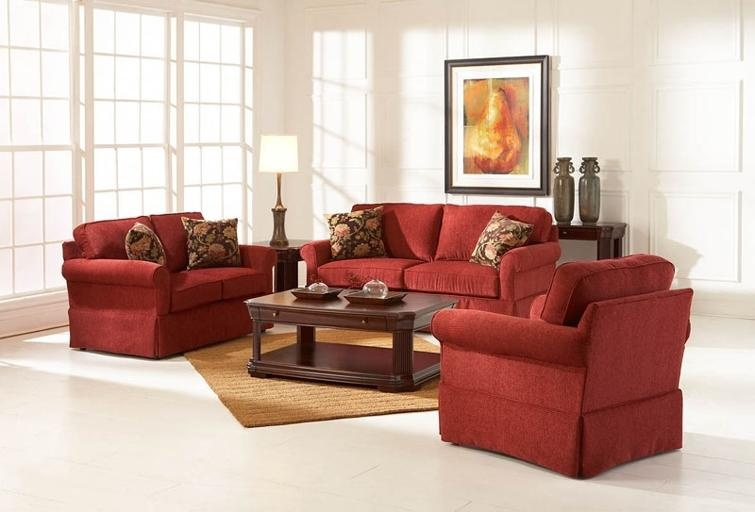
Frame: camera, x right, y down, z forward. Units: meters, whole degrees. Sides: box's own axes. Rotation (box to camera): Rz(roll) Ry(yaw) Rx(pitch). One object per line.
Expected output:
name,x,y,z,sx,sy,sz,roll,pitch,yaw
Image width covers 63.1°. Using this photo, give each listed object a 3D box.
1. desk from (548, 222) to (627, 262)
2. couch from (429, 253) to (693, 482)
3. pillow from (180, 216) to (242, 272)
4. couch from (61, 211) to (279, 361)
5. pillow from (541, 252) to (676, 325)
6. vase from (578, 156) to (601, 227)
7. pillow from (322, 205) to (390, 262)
desk,2.373,-0.186,6.991,0.758,0.660,0.540,3,5,44
couch,1.109,0.591,3.774,1.108,1.063,1.186,-1,0,-32
pillow,-1.684,-0.102,6.148,0.586,0.527,0.210,0,-15,-23
couch,-2.001,0.217,6.232,1.113,1.136,1.895,5,8,22
pillow,1.272,0.182,3.402,0.787,0.330,0.294,-6,10,-33
vase,2.431,-0.757,7.032,0.262,0.751,0.403,3,10,18
pillow,-0.206,-0.230,6.688,0.681,0.580,0.242,-4,-13,-11
